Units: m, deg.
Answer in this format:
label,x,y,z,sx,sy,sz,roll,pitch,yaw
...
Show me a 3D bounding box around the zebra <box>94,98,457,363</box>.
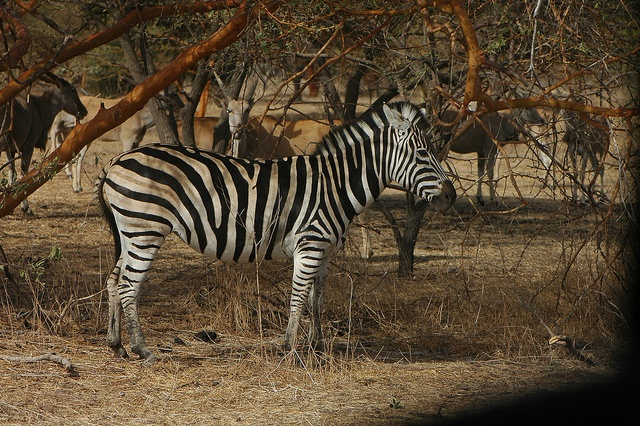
label,x,y,z,sx,sy,sz,roll,pitch,yaw
zebra,-0.467,0.220,10.235,3.919,2.787,1.094,-1,7,-4
